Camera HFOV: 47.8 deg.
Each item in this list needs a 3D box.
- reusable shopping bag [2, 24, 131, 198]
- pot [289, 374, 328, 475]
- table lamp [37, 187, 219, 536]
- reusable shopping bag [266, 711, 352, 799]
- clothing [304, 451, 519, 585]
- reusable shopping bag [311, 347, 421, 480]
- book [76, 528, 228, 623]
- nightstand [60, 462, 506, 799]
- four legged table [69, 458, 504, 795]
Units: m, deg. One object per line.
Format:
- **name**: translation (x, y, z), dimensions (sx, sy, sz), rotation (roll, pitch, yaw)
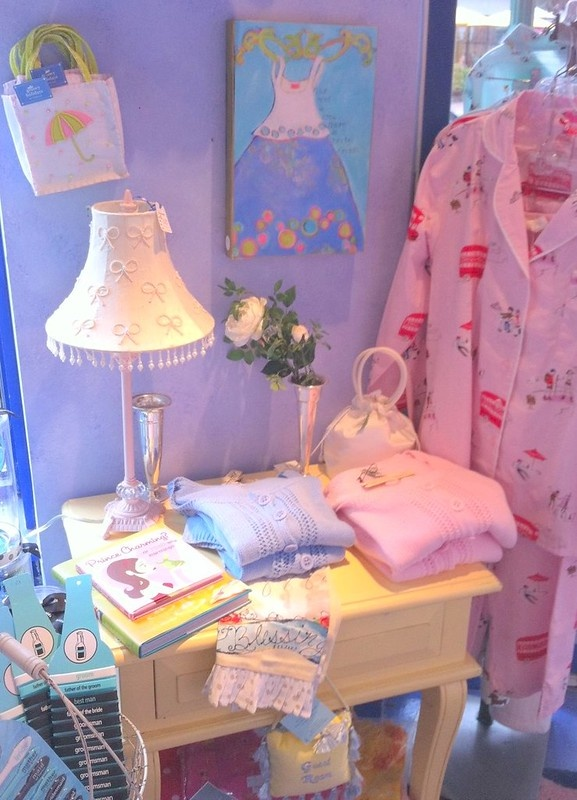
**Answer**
- **reusable shopping bag**: translation (-0.382, -0.493, 1.098), dimensions (0.218, 0.283, 0.103), rotation (-25, 46, -18)
- **pot**: translation (0.040, 0.065, 1.394), dimensions (0.066, 0.202, 0.069), rotation (3, 8, 0)
- **table lamp**: translation (-0.280, -0.055, 1.215), dimensions (0.294, 0.642, 0.333), rotation (-8, 26, -16)
- **reusable shopping bag**: translation (0.039, 0.618, 1.134), dimensions (0.146, 0.186, 0.057), rotation (-4, 26, -8)
- **clothing**: translation (0.235, 0.197, 1.229), dimensions (0.250, 0.093, 0.243), rotation (-9, 29, -24)
- **reusable shopping bag**: translation (0.177, 0.030, 1.466), dimensions (0.273, 0.339, 0.157), rotation (-3, 17, -16)
- **book**: translation (-0.226, 0.286, 1.076), dimensions (0.152, 0.021, 0.148), rotation (-18, 29, -42)
- **nightstand**: translation (-0.044, 0.505, 1.356), dimensions (0.735, 0.677, 0.482), rotation (-8, 28, -15)
- **four legged table**: translation (-0.035, 0.540, 1.379), dimensions (0.733, 0.675, 0.477), rotation (-9, 34, -13)
